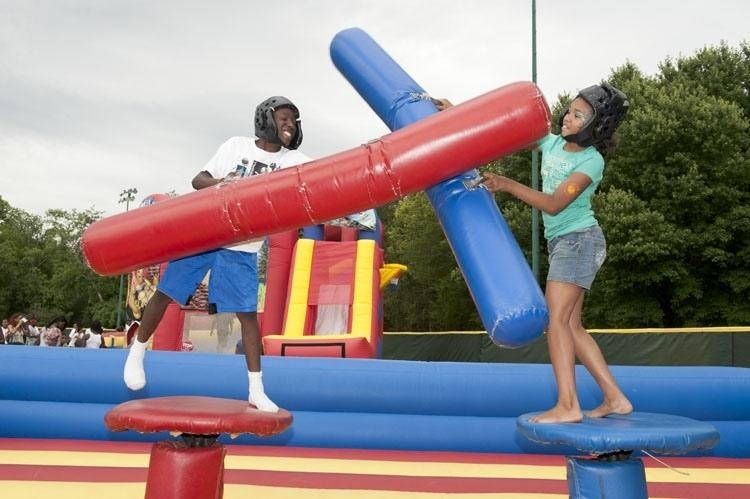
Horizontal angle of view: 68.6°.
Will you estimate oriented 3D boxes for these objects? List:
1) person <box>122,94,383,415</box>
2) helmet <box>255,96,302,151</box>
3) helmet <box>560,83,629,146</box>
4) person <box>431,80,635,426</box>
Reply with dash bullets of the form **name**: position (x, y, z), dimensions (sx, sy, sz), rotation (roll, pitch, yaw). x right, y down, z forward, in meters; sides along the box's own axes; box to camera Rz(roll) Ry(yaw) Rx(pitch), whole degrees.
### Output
- **person**: position (-1.139, -0.035, 4.101), dimensions (1.285, 2.355, 0.544), rotation (-1, -9, -7)
- **helmet**: position (-0.777, -1.008, 4.331), dimensions (0.309, 0.374, 0.373), rotation (5, -5, -42)
- **helmet**: position (1.549, -0.935, 3.889), dimensions (0.413, 0.374, 0.308), rotation (-6, 24, -18)
- **person**: position (1.339, -0.026, 3.792), dimensions (0.957, 2.320, 0.440), rotation (-1, -9, -2)
